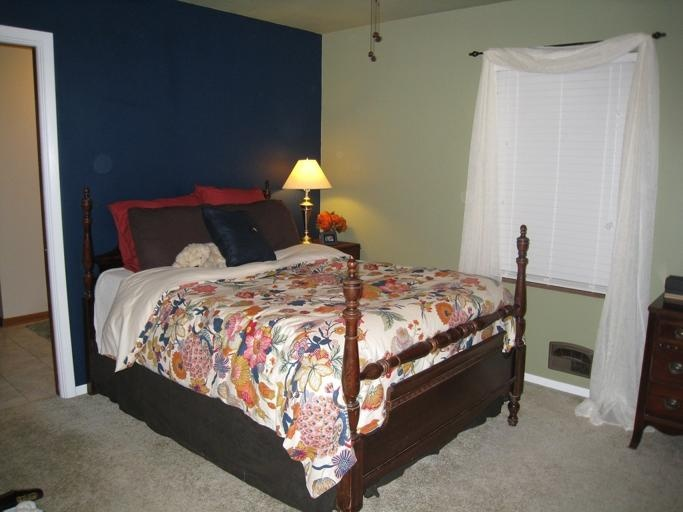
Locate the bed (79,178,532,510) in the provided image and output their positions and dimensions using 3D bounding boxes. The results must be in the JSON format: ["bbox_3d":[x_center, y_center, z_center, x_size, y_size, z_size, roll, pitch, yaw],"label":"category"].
[{"bbox_3d":[-0.453,0.404,3.986,3.460,1.744,1.972,5,15,22],"label":"bed"}]

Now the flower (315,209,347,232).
[{"bbox_3d":[-0.115,-0.361,5.582,0.216,0.197,0.230,4,4,-3],"label":"flower"}]

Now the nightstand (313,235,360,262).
[{"bbox_3d":[0.007,-0.090,5.523,0.299,0.213,0.316,6,10,42],"label":"nightstand"}]

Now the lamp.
[{"bbox_3d":[-0.366,-0.537,5.555,0.492,0.889,0.518,0,7,-11],"label":"lamp"}]
